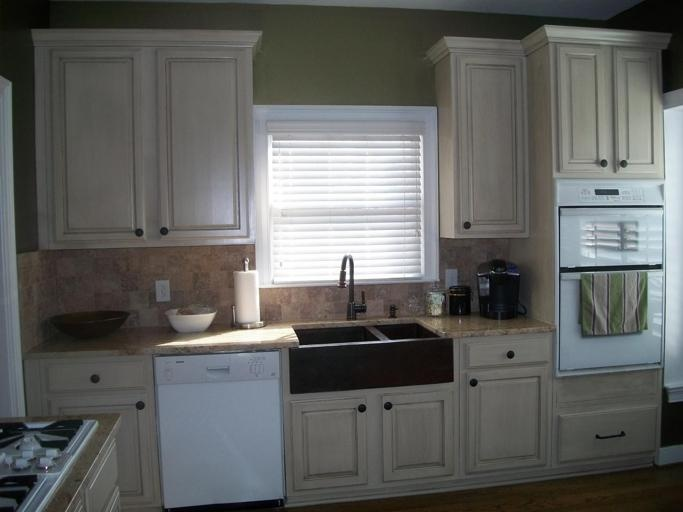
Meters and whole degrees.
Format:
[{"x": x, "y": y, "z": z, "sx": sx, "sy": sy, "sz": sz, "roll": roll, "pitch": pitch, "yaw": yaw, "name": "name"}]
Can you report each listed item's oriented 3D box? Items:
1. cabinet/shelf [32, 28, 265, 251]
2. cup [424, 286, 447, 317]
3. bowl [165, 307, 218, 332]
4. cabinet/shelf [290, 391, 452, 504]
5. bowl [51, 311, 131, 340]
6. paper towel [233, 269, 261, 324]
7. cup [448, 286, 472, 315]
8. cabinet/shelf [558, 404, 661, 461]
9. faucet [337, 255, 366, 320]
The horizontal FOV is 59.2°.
[{"x": -1.273, "y": -0.757, "z": 3.775, "sx": 1.334, "sy": 1.341, "sz": 0.547, "roll": 0, "pitch": 0, "yaw": -6, "name": "cabinet/shelf"}, {"x": 0.674, "y": 0.337, "z": 4.304, "sx": 0.158, "sy": 0.241, "sz": 0.163, "roll": 1, "pitch": -1, "yaw": 0, "name": "cup"}, {"x": -0.991, "y": 0.416, "z": 3.957, "sx": 0.309, "sy": 0.154, "sz": 0.243, "roll": -4, "pitch": 4, "yaw": -15, "name": "bowl"}, {"x": 0.180, "y": 1.161, "z": 3.777, "sx": 1.138, "sy": 0.770, "sz": 0.665, "roll": -1, "pitch": -2, "yaw": -8, "name": "cabinet/shelf"}, {"x": -1.605, "y": 0.444, "z": 3.843, "sx": 0.456, "sy": 0.148, "sz": 0.350, "roll": -4, "pitch": 5, "yaw": -24, "name": "bowl"}, {"x": -0.633, "y": 0.272, "z": 4.034, "sx": 0.167, "sy": 0.356, "sz": 0.120, "roll": -3, "pitch": 4, "yaw": -18, "name": "paper towel"}, {"x": 0.837, "y": 0.323, "z": 4.383, "sx": 0.179, "sy": 0.205, "sz": 0.181, "roll": 0, "pitch": 8, "yaw": 0, "name": "cup"}, {"x": 1.780, "y": 1.184, "z": 4.033, "sx": 0.568, "sy": 0.294, "sz": 0.370, "roll": -1, "pitch": -2, "yaw": -10, "name": "cabinet/shelf"}, {"x": 0.076, "y": 0.210, "z": 4.207, "sx": 0.183, "sy": 0.467, "sz": 0.379, "roll": -2, "pitch": 4, "yaw": 3, "name": "faucet"}]
